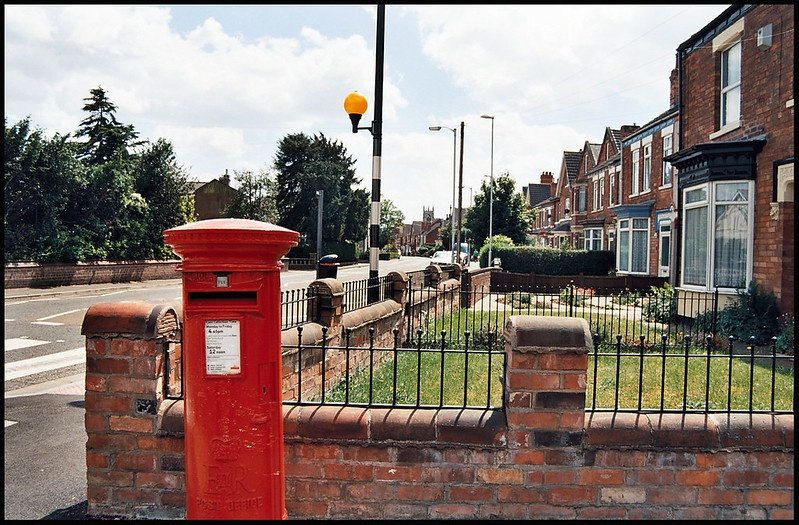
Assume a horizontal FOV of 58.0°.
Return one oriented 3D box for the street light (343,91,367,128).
[{"bbox_3d":[-0.908,-3.144,14.912,0.577,0.771,0.601,2,2,31],"label":"street light"}]
